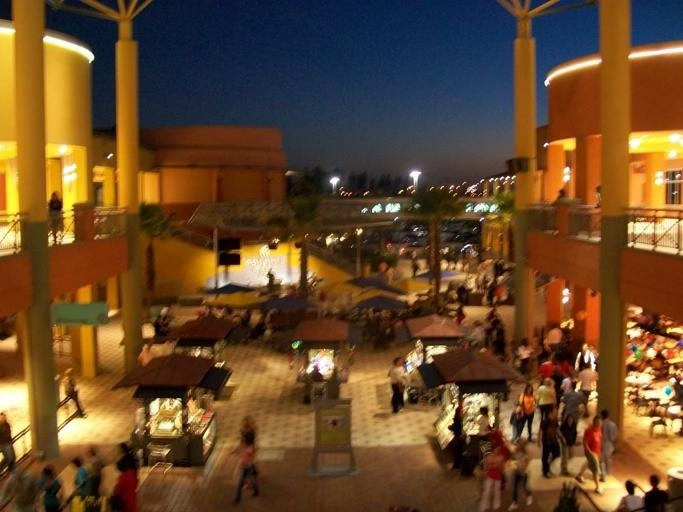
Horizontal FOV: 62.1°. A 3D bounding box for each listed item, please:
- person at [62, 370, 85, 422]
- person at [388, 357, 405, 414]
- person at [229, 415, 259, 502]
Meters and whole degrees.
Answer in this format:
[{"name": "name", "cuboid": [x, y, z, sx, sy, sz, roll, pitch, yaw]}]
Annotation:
[{"name": "person", "cuboid": [-7.680, 3.647, 16.051, 0.446, 0.391, 1.892, 24, -1, -22]}, {"name": "person", "cuboid": [1.590, 3.591, 16.040, 0.427, 1.406, 0.810, 0, 6, 6]}, {"name": "person", "cuboid": [-1.900, 4.002, 11.240, 0.499, 1.466, 0.714, -2, 6, -9]}]
